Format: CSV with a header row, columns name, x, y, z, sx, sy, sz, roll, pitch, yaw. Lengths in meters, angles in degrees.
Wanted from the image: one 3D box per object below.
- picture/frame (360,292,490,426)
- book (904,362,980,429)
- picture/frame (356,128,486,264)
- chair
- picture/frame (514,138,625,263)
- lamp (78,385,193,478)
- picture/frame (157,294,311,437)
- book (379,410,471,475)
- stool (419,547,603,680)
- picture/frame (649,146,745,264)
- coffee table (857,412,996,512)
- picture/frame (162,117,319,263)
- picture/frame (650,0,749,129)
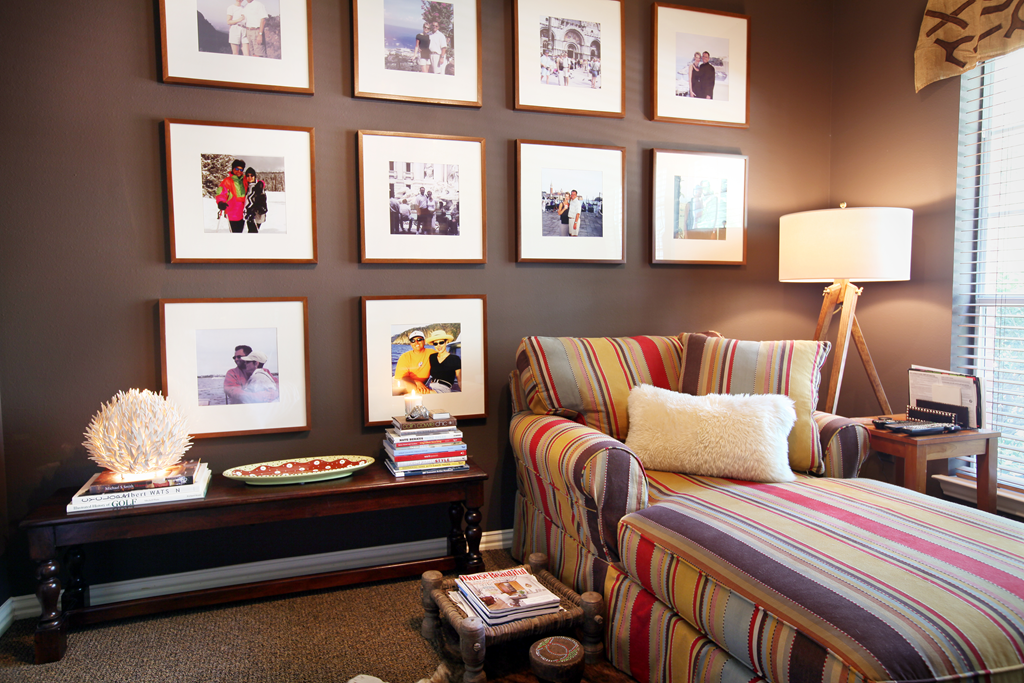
name,x,y,z,sx,sy,sz,roll,pitch,yaw
picture/frame,-0.501,0.084,3.781,0.727,0.703,0.030,0,-1,-22
book,2.235,0.299,3.640,0.103,0.259,0.307,-3,5,-33
picture/frame,-0.519,-0.786,3.758,0.725,0.683,0.030,-2,6,-18
chair,0.753,0.321,3.582,1.660,1.272,1.220,0,-4,-20
picture/frame,0.299,-0.803,3.973,0.726,0.696,0.032,0,0,-21
lamp,-1.690,0.433,3.352,0.428,0.412,0.434,-5,-39,1
picture/frame,-1.442,0.116,3.546,0.728,0.732,0.025,0,2,-16
book,-0.450,0.519,3.527,0.333,0.207,0.315,0,0,-19
stool,-0.071,1.230,3.029,0.512,0.230,0.512,-2,3,-26
picture/frame,1.078,-0.819,4.181,0.697,0.697,0.050,-1,4,-13
coffee table,2.133,0.588,3.713,0.518,0.498,0.521,-1,3,-8
picture/frame,-1.406,-0.766,3.535,0.749,0.733,0.029,-1,5,-15
picture/frame,1.088,-1.652,4.150,0.785,0.767,0.030,1,0,-22
